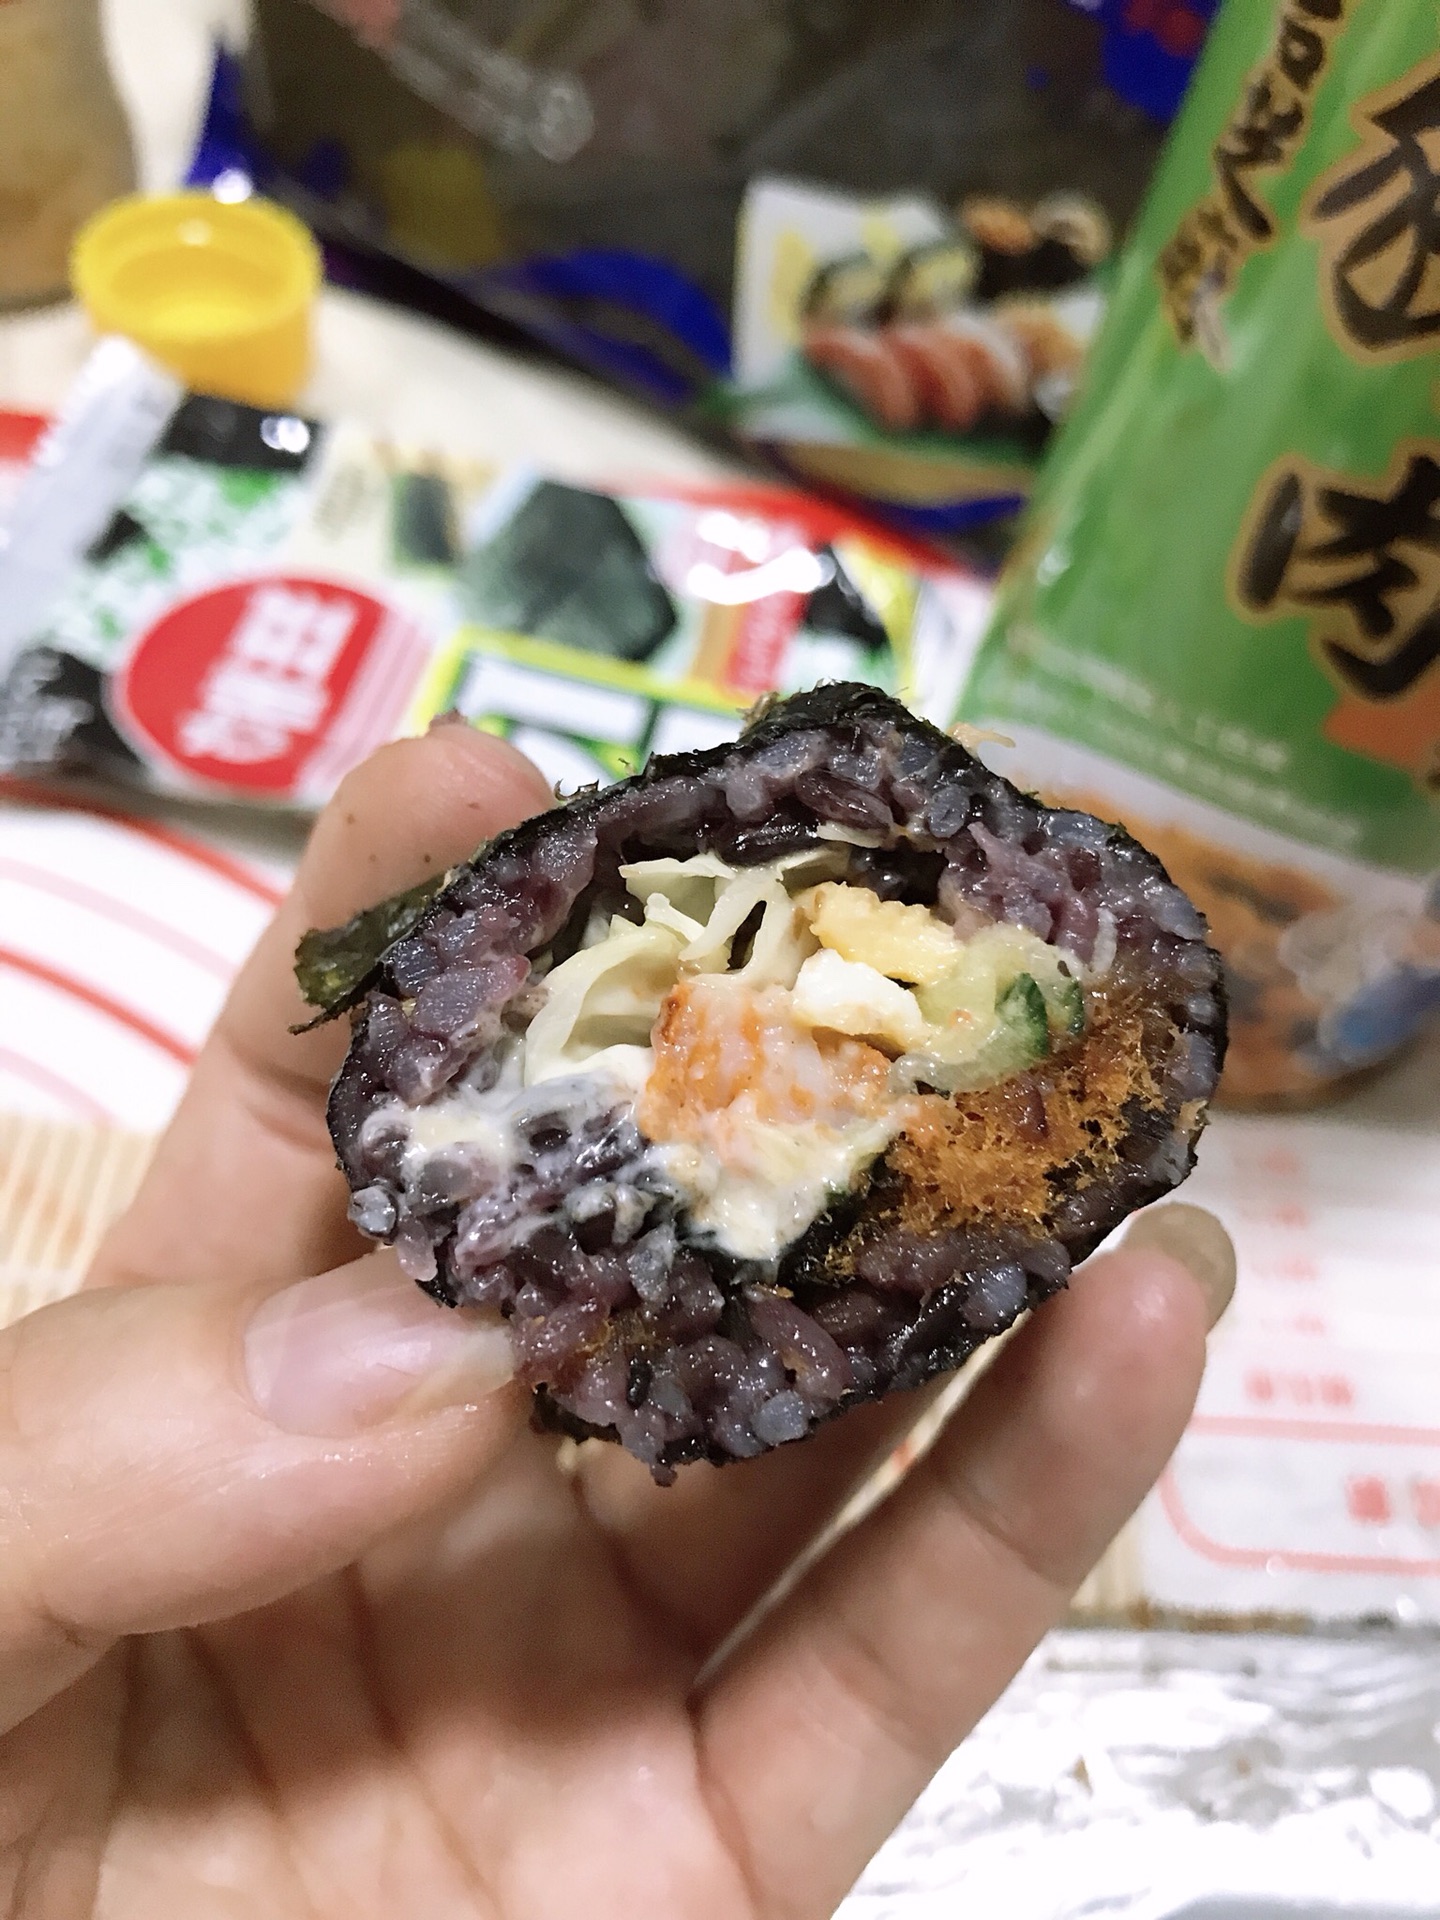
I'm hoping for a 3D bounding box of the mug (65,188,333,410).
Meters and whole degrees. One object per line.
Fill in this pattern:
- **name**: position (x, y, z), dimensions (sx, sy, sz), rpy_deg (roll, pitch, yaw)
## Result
- **mug**: position (-0.652, -0.840, 2.418), dimensions (0.355, 0.189, 0.278), rpy_deg (2, 66, -5)
